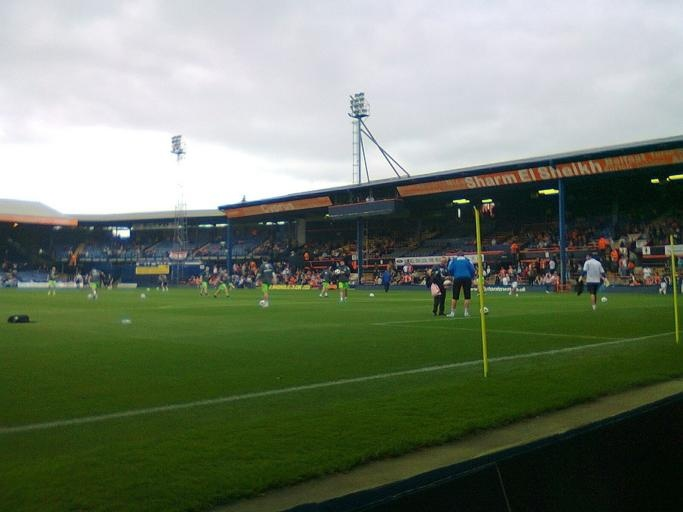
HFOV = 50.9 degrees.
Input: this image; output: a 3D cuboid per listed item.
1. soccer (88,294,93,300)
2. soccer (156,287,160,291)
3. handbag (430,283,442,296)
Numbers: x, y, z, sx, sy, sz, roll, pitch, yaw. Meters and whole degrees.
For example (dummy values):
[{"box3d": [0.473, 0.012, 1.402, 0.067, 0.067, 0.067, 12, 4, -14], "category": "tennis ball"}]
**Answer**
[{"box3d": [-12.991, 2.107, 37.061, 0.289, 0.112, 0.221, 23, -6, 29], "category": "soccer"}, {"box3d": [-16.675, 2.947, 65.052, 0.274, 0.383, 0.384, 2, -2, -40], "category": "soccer"}, {"box3d": [2.599, 0.928, 19.859, 0.258, 0.339, 0.136, 9, 1, -8], "category": "handbag"}]
